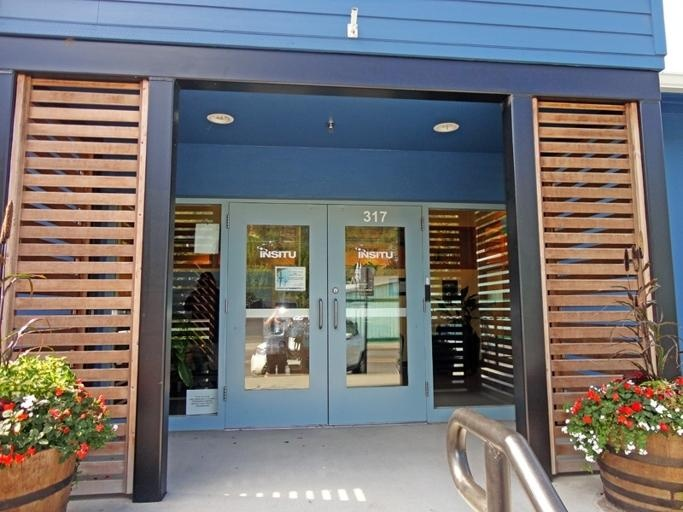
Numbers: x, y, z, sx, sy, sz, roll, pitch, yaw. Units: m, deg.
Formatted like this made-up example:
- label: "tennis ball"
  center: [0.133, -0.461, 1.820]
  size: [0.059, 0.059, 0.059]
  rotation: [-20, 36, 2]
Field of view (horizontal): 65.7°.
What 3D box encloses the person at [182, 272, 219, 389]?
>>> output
- label: "person"
  center: [-1.488, 0.766, 5.613]
  size: [0.357, 1.211, 0.156]
  rotation: [0, -1, -9]
